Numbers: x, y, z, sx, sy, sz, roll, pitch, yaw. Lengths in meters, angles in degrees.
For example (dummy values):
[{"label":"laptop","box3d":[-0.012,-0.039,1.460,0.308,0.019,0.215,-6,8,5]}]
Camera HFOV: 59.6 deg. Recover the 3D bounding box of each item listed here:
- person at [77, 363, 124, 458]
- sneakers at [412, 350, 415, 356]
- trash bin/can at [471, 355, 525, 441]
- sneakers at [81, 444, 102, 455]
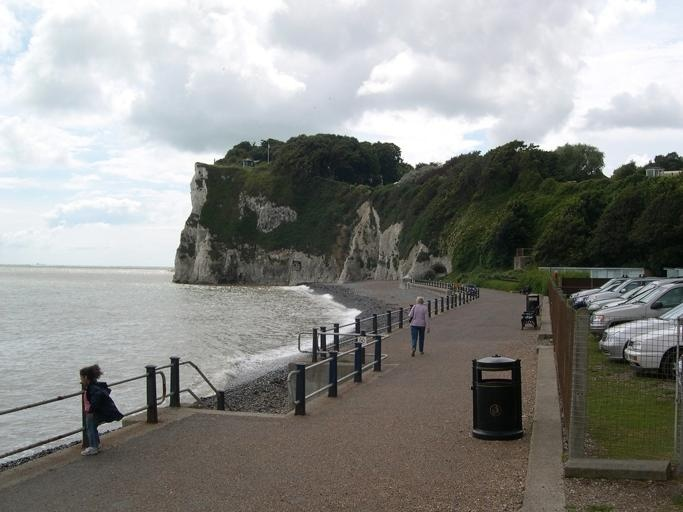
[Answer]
[{"label":"person","box3d":[-4.179,2.617,10.233,0.834,1.559,0.539,1,1,37]},{"label":"sneakers","box3d":[2.309,3.114,19.124,0.061,0.213,0.084,0,11,-5]},{"label":"trash bin/can","box3d":[2.967,2.545,10.746,1.130,1.785,1.302,-1,0,7]},{"label":"sneakers","box3d":[-4.288,3.334,10.256,0.336,0.164,0.122,4,-6,-4]}]
